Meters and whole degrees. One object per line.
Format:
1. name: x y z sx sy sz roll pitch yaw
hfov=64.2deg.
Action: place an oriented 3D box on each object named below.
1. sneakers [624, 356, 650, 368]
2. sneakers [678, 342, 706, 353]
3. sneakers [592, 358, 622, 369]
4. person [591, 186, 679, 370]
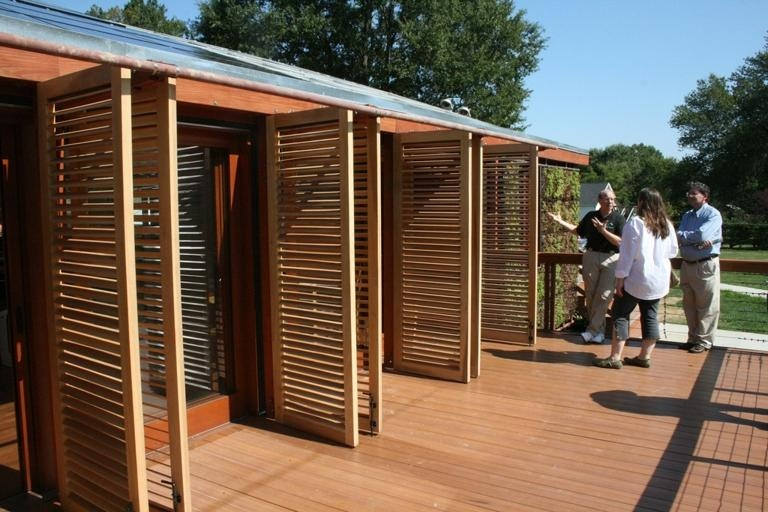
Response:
1. sneakers: 3.156 1.300 7.690 0.322 0.119 0.119 6 8 43
2. sneakers: 4.062 1.201 8.080 0.111 0.123 0.298 -31 16 -34
3. sneakers: 2.783 1.318 7.659 0.329 0.128 0.138 5 5 26
4. person: 3.028 0.323 7.242 0.796 2.221 0.477 -3 14 -6
